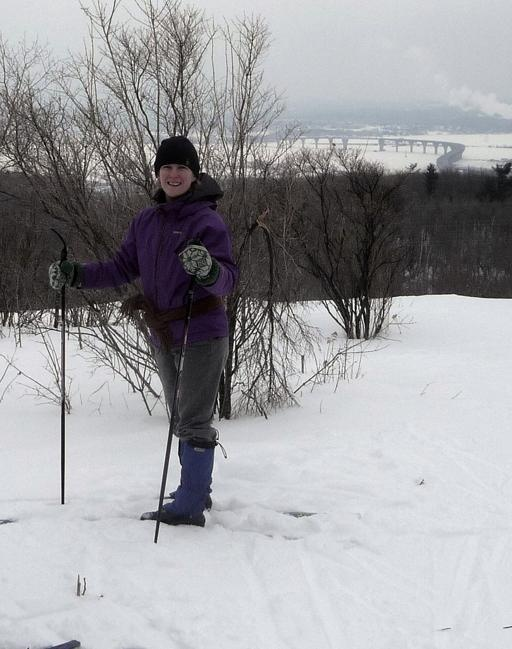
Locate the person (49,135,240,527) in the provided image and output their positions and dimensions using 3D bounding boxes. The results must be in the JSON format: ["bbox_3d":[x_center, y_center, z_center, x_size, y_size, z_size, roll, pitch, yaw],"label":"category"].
[{"bbox_3d":[-0.471,0.075,3.429,0.977,2.039,0.778,2,4,32],"label":"person"}]
